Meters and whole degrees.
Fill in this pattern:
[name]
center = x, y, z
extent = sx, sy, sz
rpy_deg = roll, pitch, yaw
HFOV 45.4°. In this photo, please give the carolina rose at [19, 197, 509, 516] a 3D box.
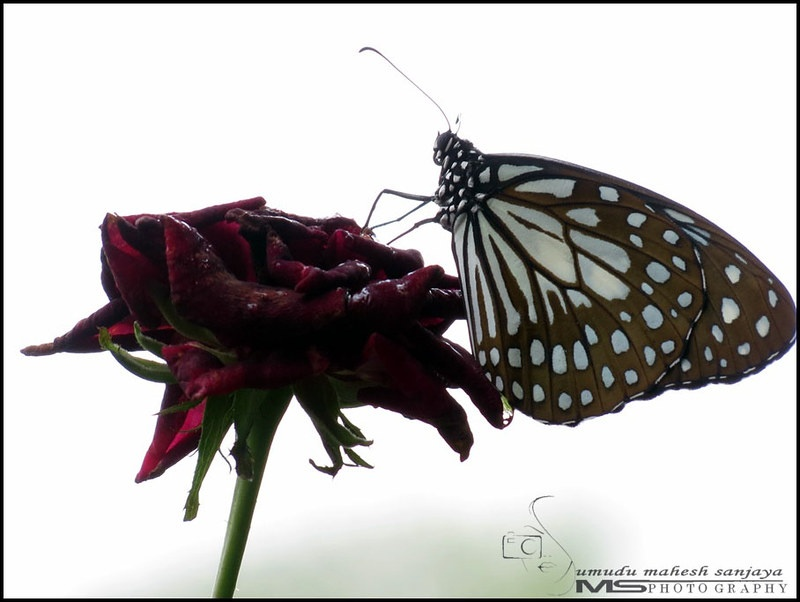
[carolina rose]
center = -0.229, 0.083, 1.569
extent = 0.778, 0.427, 0.405
rpy_deg = -5, -41, 4
